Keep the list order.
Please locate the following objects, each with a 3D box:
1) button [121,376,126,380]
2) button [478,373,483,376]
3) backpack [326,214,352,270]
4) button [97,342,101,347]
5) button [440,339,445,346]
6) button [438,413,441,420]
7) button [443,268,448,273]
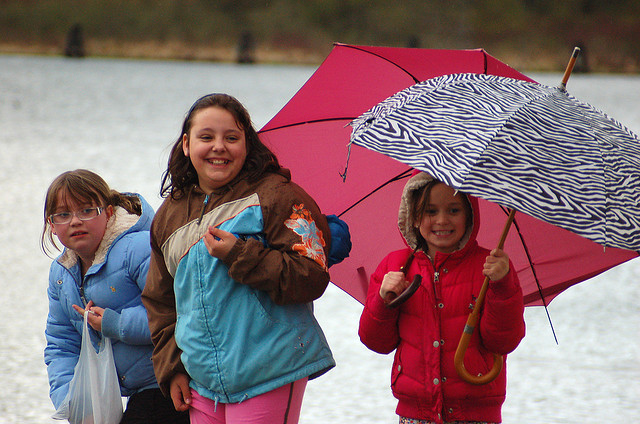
[{"bbox_3d":[-4.627,3.934,38.053,0.108,0.101,0.025,2,-4,-4],"label":"button"},{"bbox_3d":[3.804,3.816,37.633,0.069,0.059,0.016,-6,1,1],"label":"button"},{"bbox_3d":[0.480,0.639,37.588,0.908,1.037,0.359,2,5,6],"label":"backpack"},{"bbox_3d":[-5.217,3.143,38.108,0.073,0.072,0.074,-25,17,5],"label":"button"},{"bbox_3d":[2.937,3.052,37.669,0.079,0.117,0.029,5,8,-11],"label":"button"},{"bbox_3d":[2.861,4.816,37.629,0.039,0.139,0.028,1,5,5],"label":"button"},{"bbox_3d":[3.004,1.370,37.674,0.088,0.080,0.101,5,14,-1],"label":"button"}]
